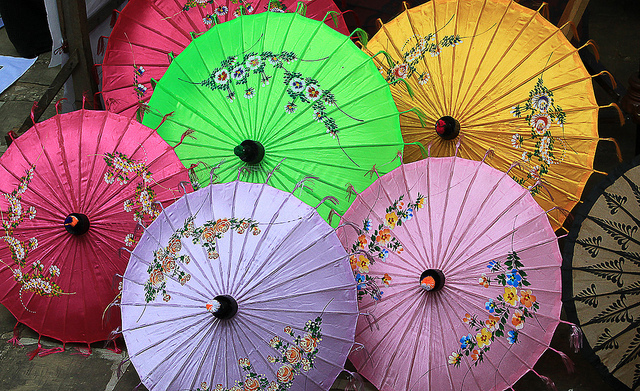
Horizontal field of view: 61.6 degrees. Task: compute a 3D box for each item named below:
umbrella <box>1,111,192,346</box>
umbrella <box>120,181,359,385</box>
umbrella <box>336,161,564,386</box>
[{"bbox_3d":[-1.798,0.318,4.256,1.662,0.573,1.782,-4,-87,12],"label":"umbrella"},{"bbox_3d":[-0.549,0.647,3.804,1.608,1.057,0.989,-3,-48,4],"label":"umbrella"},{"bbox_3d":[0.930,0.553,3.918,1.524,1.200,1.118,-5,-49,6],"label":"umbrella"}]
